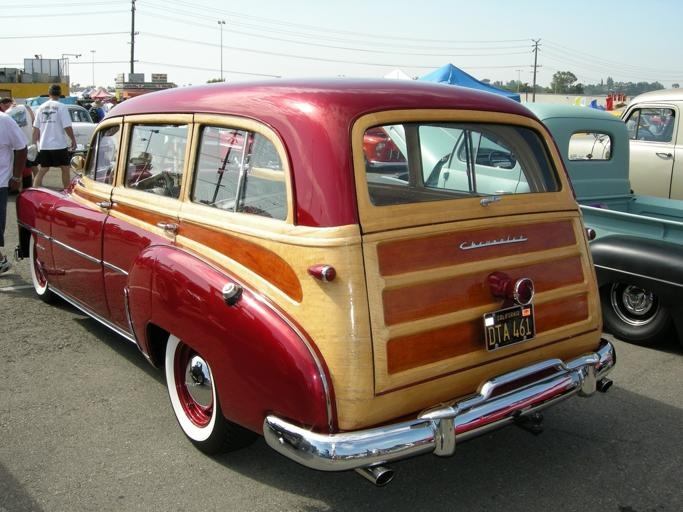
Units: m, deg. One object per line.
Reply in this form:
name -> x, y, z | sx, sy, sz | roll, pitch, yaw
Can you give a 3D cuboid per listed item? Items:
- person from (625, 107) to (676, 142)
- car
person -> 5.840, -2.541, 9.129 | 0.740, 0.559, 1.232 | 0, 19, 6
car -> -0.498, -0.088, 3.249 | 2.132, 1.319, 3.542 | -11, 22, -44
